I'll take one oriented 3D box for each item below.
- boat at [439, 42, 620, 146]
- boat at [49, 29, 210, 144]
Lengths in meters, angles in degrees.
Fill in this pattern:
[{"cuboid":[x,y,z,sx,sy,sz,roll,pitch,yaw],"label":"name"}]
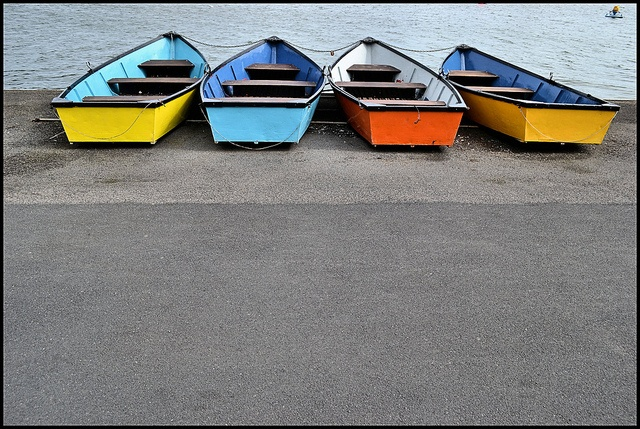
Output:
[{"cuboid":[3.938,-2.599,11.967,1.956,1.099,4.746,0,25,-17],"label":"boat"},{"cuboid":[-3.833,-2.476,11.909,2.079,1.240,3.843,-2,30,4],"label":"boat"}]
